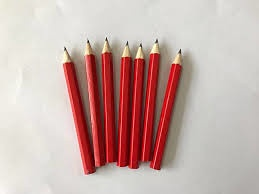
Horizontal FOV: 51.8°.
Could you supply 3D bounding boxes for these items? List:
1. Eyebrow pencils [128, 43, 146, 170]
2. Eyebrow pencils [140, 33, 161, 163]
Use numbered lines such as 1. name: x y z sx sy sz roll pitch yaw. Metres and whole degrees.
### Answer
1. Eyebrow pencils: 0.036 -0.020 0.966 0.032 0.324 0.034 2 14 -6
2. Eyebrow pencils: 0.074 0.007 0.992 0.048 0.496 0.049 7 -2 -19
